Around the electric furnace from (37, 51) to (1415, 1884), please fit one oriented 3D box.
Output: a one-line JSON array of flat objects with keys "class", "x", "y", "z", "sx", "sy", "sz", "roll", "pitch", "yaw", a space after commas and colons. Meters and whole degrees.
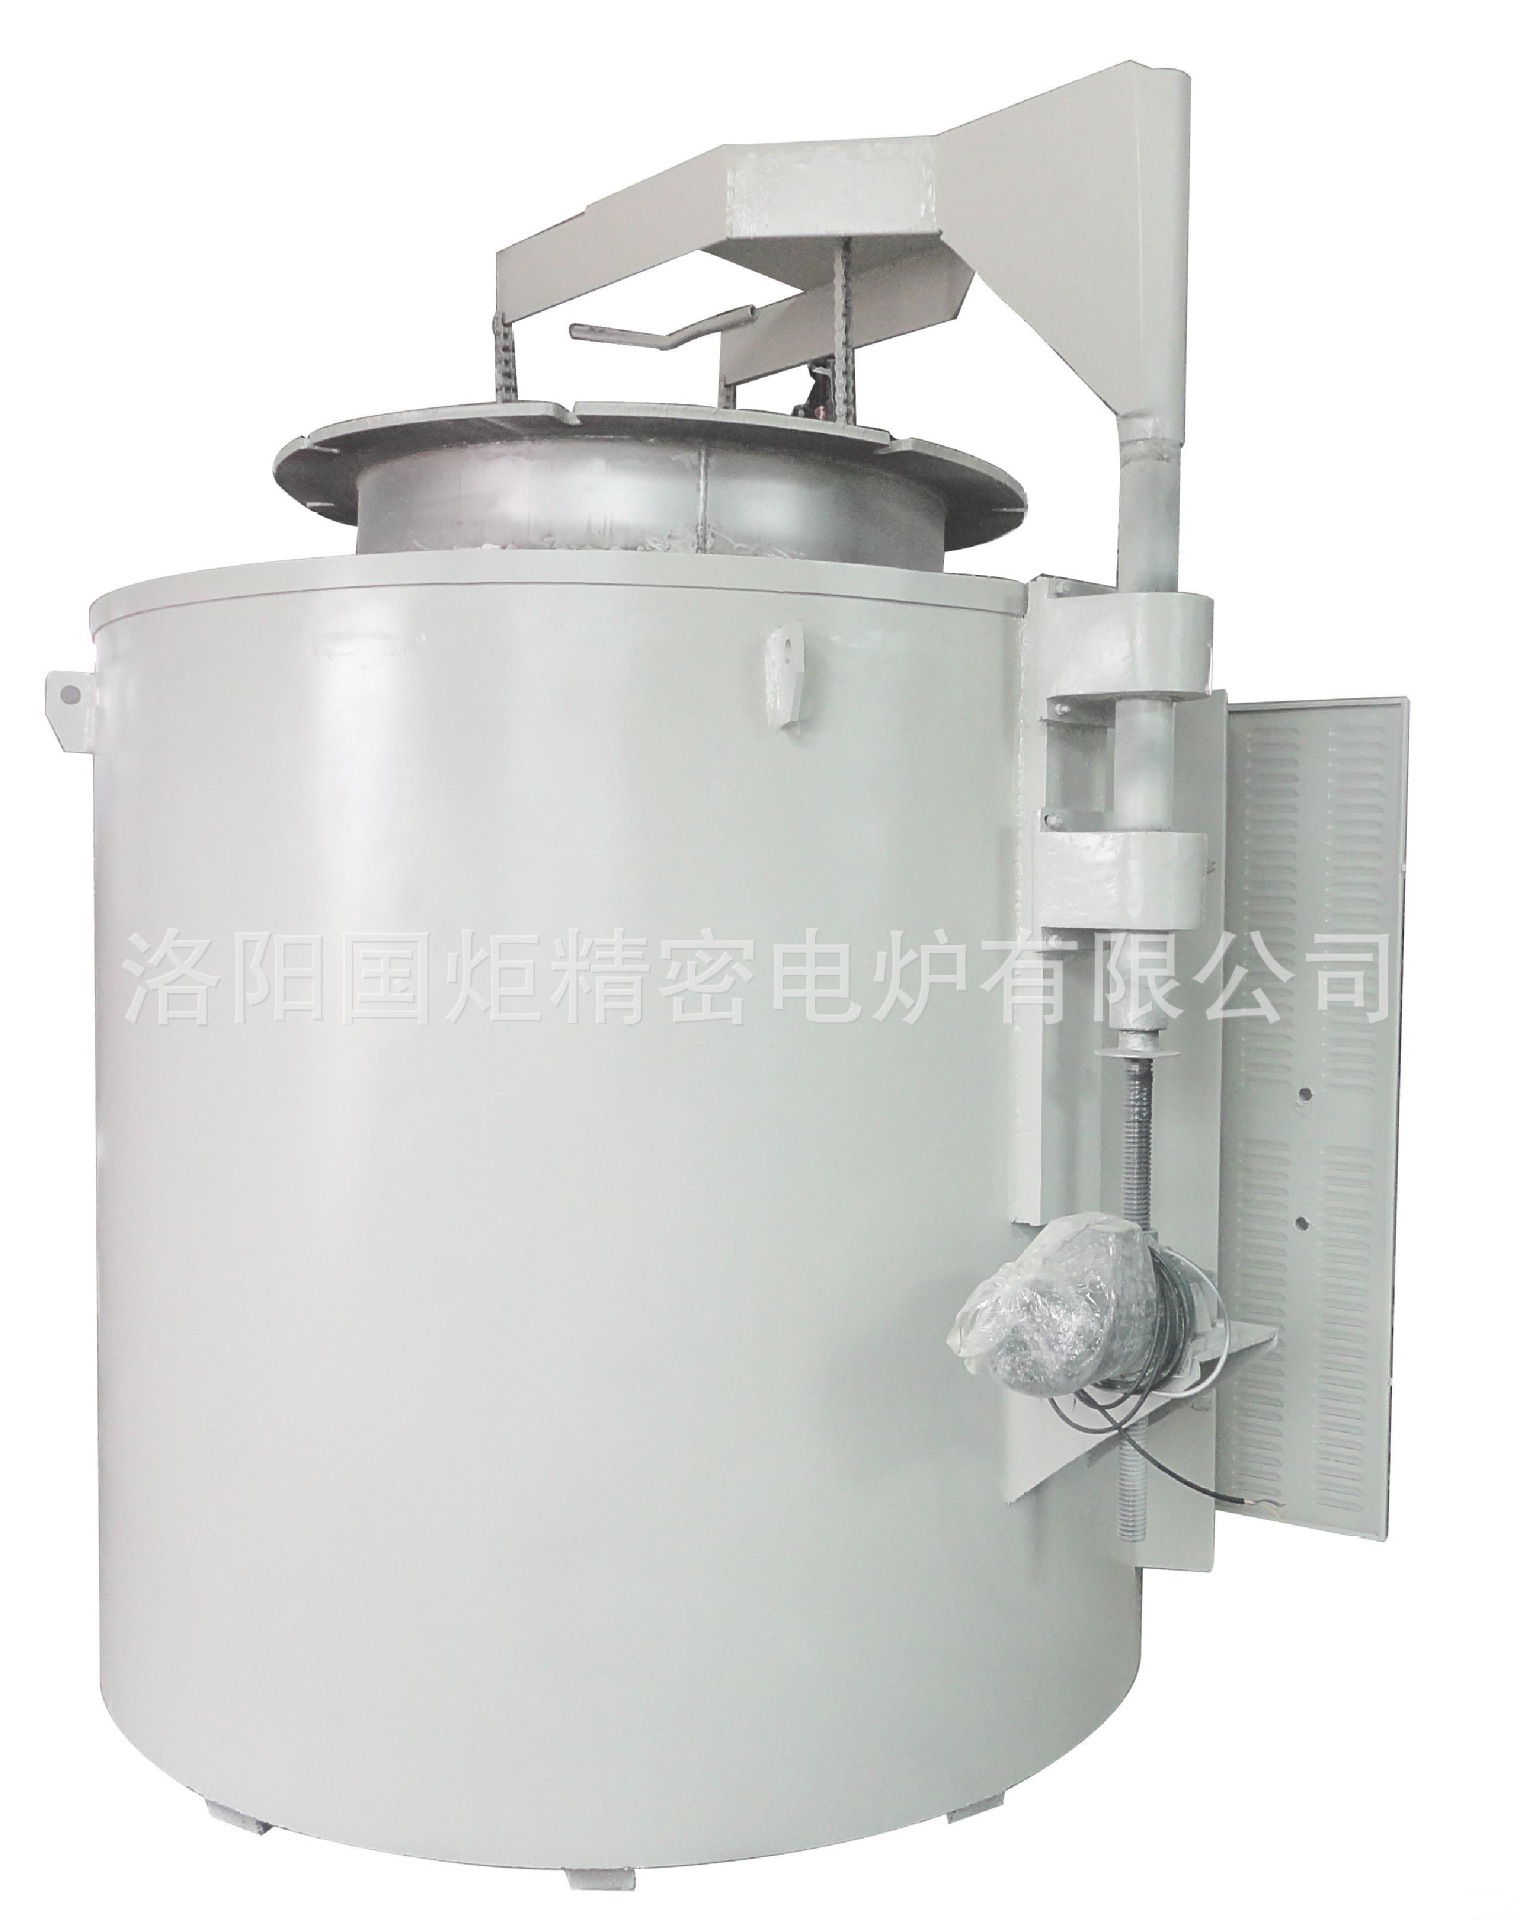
[{"class": "electric furnace", "x": -0.118, "y": 0.042, "z": 4.140, "sx": 2.169, "sy": 2.402, "sz": 1.645, "roll": 0, "pitch": 0, "yaw": 17}]
